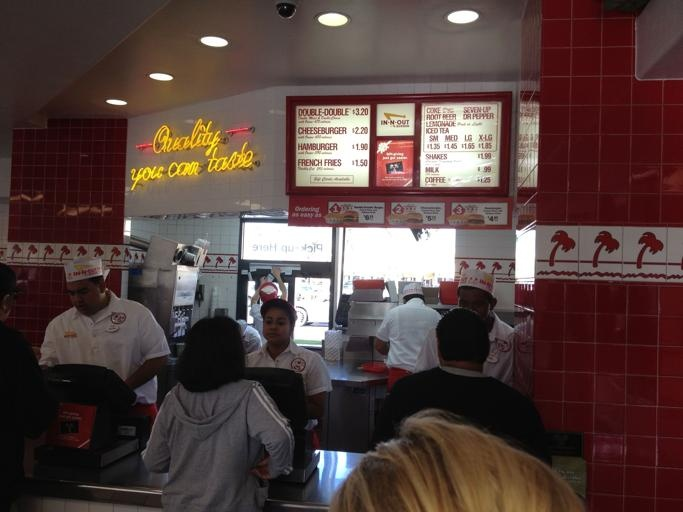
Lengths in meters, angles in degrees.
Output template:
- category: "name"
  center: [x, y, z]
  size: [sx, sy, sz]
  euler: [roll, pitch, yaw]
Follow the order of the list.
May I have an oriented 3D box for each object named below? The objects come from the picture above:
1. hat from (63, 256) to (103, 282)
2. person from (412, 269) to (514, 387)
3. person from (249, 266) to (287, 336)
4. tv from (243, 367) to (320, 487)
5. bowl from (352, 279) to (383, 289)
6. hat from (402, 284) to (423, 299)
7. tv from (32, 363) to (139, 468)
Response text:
- category: "hat"
  center: [-1.623, 0.079, 3.839]
  size: [0.169, 0.117, 0.172]
  euler: [-5, 1, -14]
- category: "person"
  center: [0.790, 0.574, 3.821]
  size: [0.706, 0.941, 0.512]
  euler: [1, -8, 16]
- category: "person"
  center: [-0.847, 0.415, 6.444]
  size: [0.511, 0.951, 0.242]
  euler: [0, -2, 11]
- category: "tv"
  center: [-0.209, 0.849, 3.065]
  size: [0.424, 0.565, 0.482]
  euler: [-2, -17, 7]
- category: "bowl"
  center: [0.250, 0.277, 6.058]
  size: [0.292, 0.070, 0.132]
  euler: [3, -1, 1]
- category: "hat"
  center: [0.647, 0.315, 5.655]
  size: [0.116, 0.137, 0.157]
  euler: [2, -13, -4]
- category: "tv"
  center: [-1.248, 0.748, 3.227]
  size: [0.501, 0.576, 0.459]
  euler: [1, 1, 19]
